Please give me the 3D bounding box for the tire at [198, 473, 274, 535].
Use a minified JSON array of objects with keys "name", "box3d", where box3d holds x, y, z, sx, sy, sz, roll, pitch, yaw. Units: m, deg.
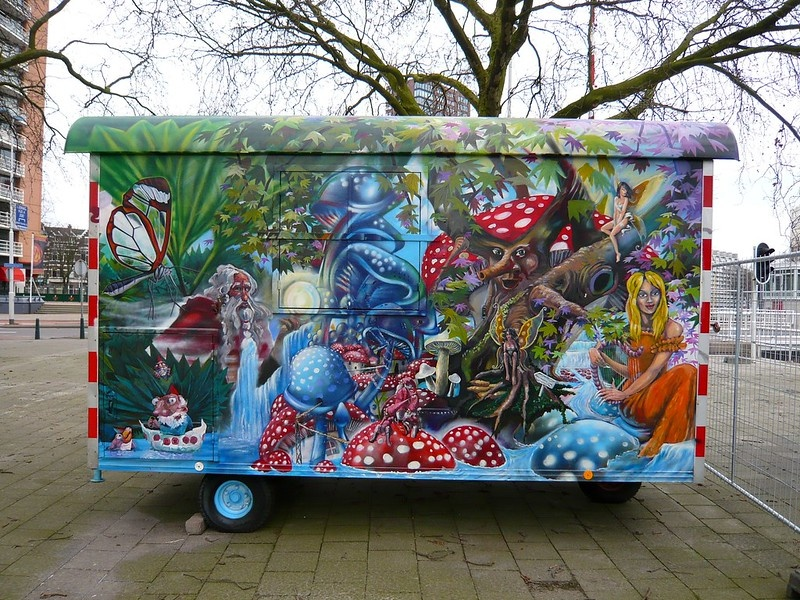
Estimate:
[{"name":"tire","box3d":[-1.613,2.012,7.343,0.623,0.633,0.202,1,5,7]}]
